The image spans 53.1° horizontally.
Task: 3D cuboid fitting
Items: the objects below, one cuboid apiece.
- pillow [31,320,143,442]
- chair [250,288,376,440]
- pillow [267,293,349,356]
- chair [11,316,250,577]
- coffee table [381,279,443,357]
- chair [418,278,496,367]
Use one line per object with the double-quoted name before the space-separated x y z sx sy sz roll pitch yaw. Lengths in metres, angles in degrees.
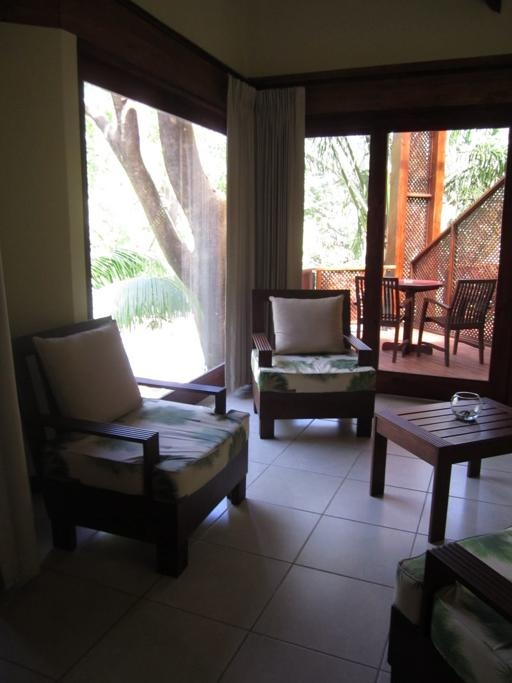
"pillow" -0.629 0.151 1.994 0.186 0.409 0.439 -6 8 30
"chair" 0.323 0.066 3.424 0.630 0.983 0.978 -1 12 -2
"pillow" 0.350 -0.119 3.440 0.299 0.339 0.129 -3 -13 0
"chair" -0.448 0.343 1.994 0.661 0.847 0.684 2 8 24
"coffee table" 1.571 -0.295 5.355 0.602 0.910 0.697 1 14 6
"chair" 1.920 -0.236 4.974 0.469 0.976 0.666 -2 21 3
